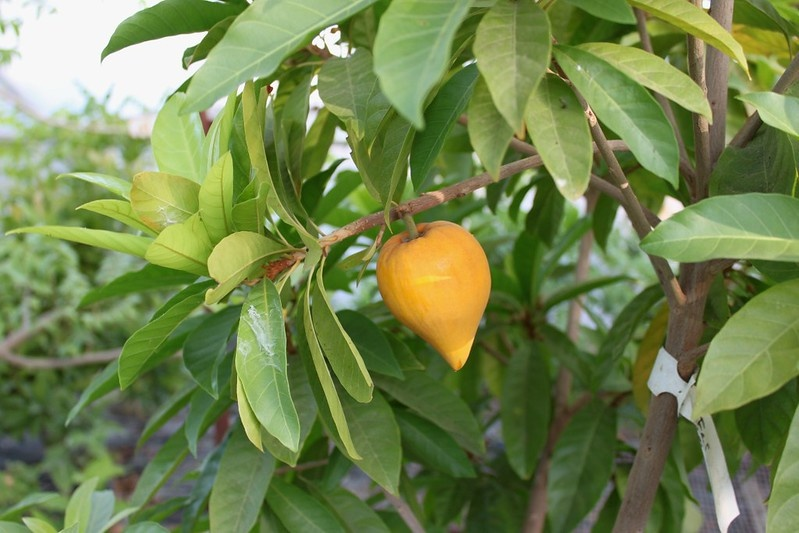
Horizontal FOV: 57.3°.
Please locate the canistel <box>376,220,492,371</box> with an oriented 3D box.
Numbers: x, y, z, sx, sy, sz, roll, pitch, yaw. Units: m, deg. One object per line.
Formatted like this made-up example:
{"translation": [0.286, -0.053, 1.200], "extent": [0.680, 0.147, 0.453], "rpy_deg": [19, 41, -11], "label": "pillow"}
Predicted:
{"translation": [0.058, 0.042, 0.945], "extent": [0.125, 0.196, 0.137], "rpy_deg": [-3, 11, 17], "label": "canistel"}
